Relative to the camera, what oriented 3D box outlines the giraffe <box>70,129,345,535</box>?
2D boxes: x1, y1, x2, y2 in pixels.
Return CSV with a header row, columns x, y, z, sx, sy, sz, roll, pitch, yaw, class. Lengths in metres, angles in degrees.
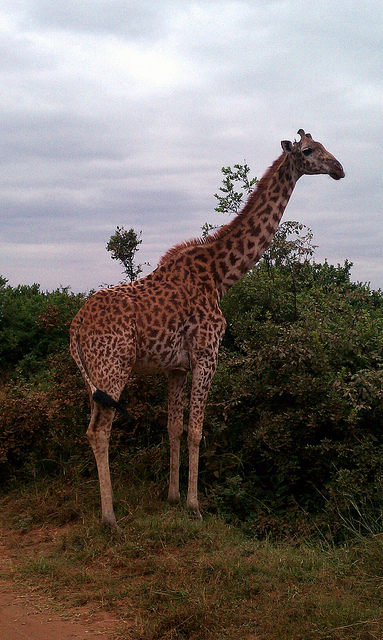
x,y,z,sx,sy,sz,roll,pitch,yaw,class
-0.103,0.076,7.853,2.715,3.535,0.967,-15,15,-42,giraffe
